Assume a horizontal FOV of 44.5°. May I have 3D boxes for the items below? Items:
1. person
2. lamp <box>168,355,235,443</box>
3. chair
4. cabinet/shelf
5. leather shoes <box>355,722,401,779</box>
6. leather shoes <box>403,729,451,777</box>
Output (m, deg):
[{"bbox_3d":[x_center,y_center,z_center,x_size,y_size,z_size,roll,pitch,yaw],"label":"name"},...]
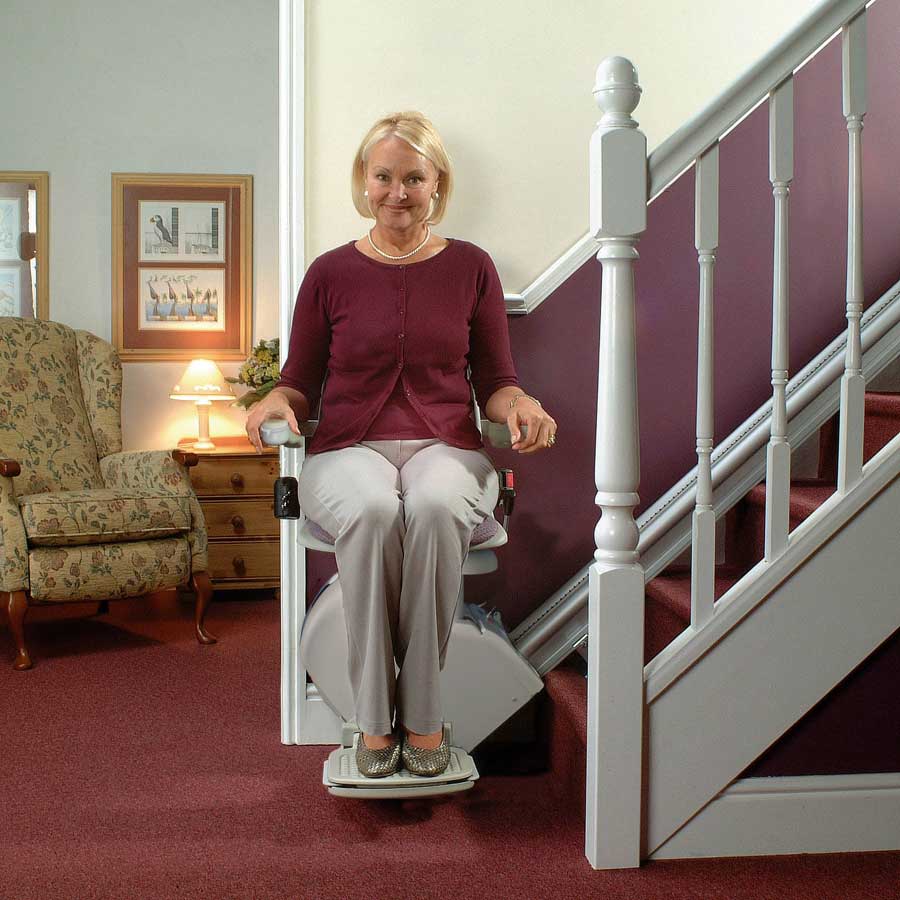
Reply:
[{"bbox_3d":[-0.080,-0.056,2.112,0.461,1.196,0.569,-2,9,-22],"label":"person"},{"bbox_3d":[-1.004,-0.199,4.488,0.252,0.364,0.254,-2,-2,4],"label":"lamp"},{"bbox_3d":[-0.142,0.307,2.259,0.607,0.900,0.711,-1,3,-8],"label":"chair"},{"bbox_3d":[-0.844,0.234,4.301,0.436,0.562,0.401,-4,15,-21],"label":"cabinet/shelf"},{"bbox_3d":[-0.127,0.532,1.932,0.097,0.075,0.179,0,-1,-6],"label":"leather shoes"},{"bbox_3d":[-0.047,0.535,1.934,0.076,0.063,0.168,0,-2,-2],"label":"leather shoes"}]
